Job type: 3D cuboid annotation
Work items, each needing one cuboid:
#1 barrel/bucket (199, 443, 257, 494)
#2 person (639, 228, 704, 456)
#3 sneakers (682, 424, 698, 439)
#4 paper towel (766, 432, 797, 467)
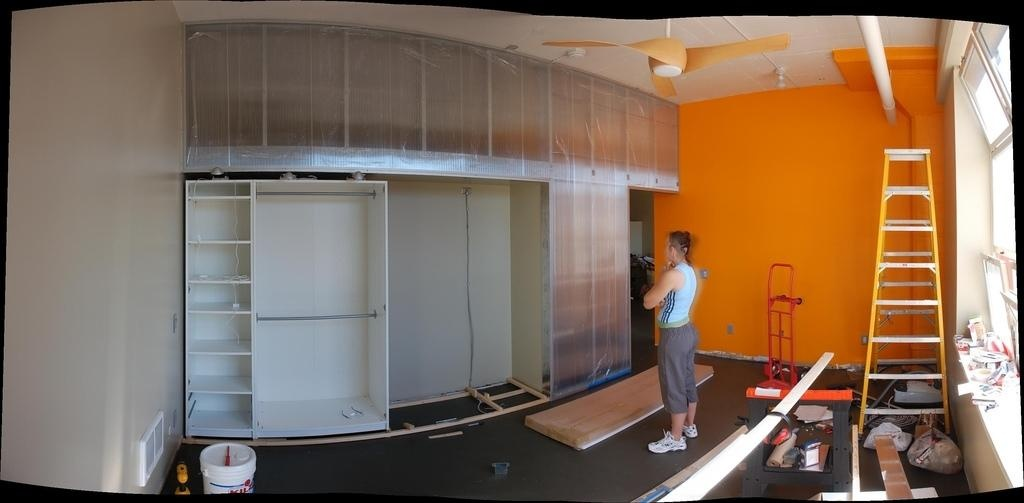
[{"bbox_3d":[-3.109,2.367,6.846,0.677,0.394,0.614,1,5,-18],"label":"barrel/bucket"},{"bbox_3d":[1.912,1.119,7.590,0.641,2.657,0.525,-2,-6,5],"label":"person"},{"bbox_3d":[2.214,2.265,7.836,0.113,0.095,0.260,4,7,41],"label":"sneakers"},{"bbox_3d":[3.023,2.253,7.067,0.273,0.282,0.535,-5,-6,28],"label":"paper towel"}]
